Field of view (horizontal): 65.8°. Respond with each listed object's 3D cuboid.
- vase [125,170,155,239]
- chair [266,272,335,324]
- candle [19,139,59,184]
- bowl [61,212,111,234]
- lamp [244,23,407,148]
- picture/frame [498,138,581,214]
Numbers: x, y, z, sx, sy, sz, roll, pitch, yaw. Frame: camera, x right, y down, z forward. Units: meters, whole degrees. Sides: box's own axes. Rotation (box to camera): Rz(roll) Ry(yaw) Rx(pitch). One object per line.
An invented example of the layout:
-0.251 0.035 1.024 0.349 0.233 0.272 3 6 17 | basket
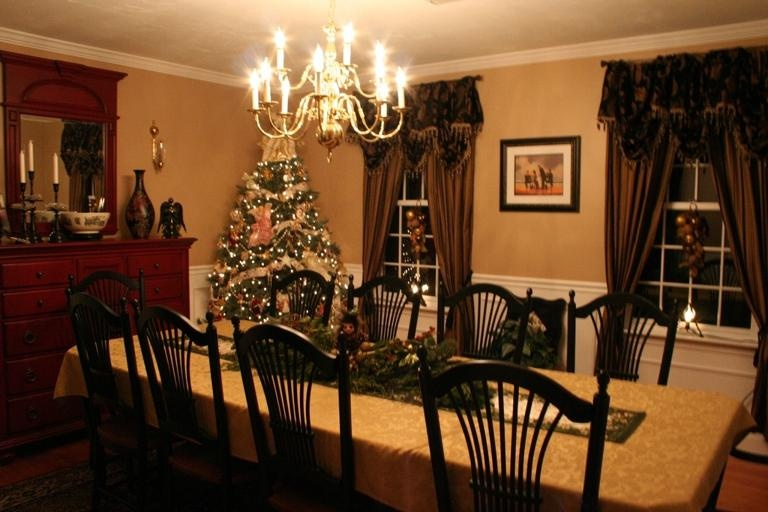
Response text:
-2.441 -0.520 5.893 0.261 0.680 0.224 2 7 23 | vase
-0.661 0.320 5.020 0.437 0.723 0.484 2 0 7 | chair
-3.134 -0.853 5.402 0.324 0.415 0.218 -4 8 -30 | candle
-2.755 -0.275 5.456 0.234 0.123 0.243 1 2 0 | bowl
-0.338 -1.298 4.207 0.980 1.136 1.004 0 1 2 | lamp
1.542 -0.786 5.740 0.693 0.698 0.051 1 3 29 | picture/frame
